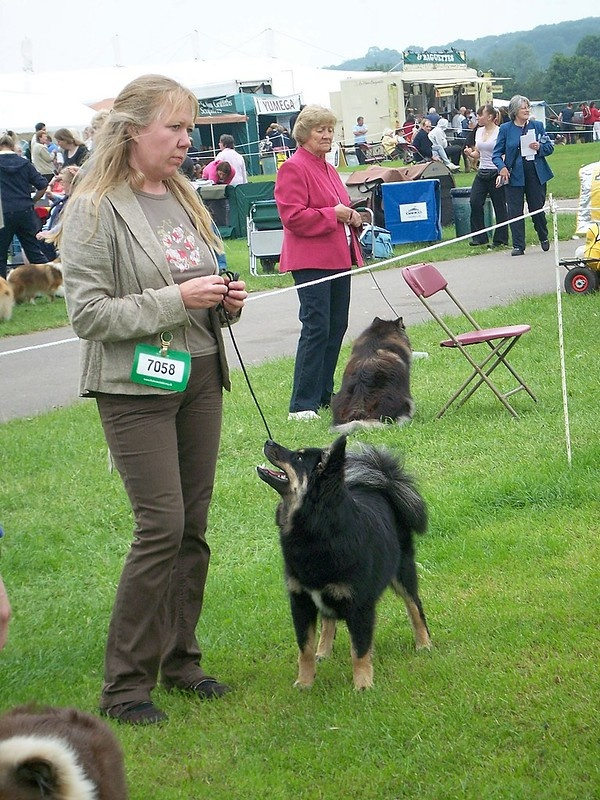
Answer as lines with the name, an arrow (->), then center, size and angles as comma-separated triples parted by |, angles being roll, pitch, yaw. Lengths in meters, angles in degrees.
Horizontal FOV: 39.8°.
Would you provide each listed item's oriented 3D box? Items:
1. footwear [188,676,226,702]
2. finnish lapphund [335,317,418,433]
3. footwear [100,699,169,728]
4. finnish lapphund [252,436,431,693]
footwear -> -0.361, 1.131, 3.256 | 0.167, 0.066, 0.059 | -2, 19, 10
finnish lapphund -> 0.626, -0.233, 6.893 | 0.498, 0.561, 1.133 | 7, 51, 26
footwear -> -0.594, 1.119, 2.998 | 0.156, 0.053, 0.099 | -3, -4, 22
finnish lapphund -> 0.179, 0.590, 3.404 | 0.398, 1.039, 0.713 | 1, 11, 29
